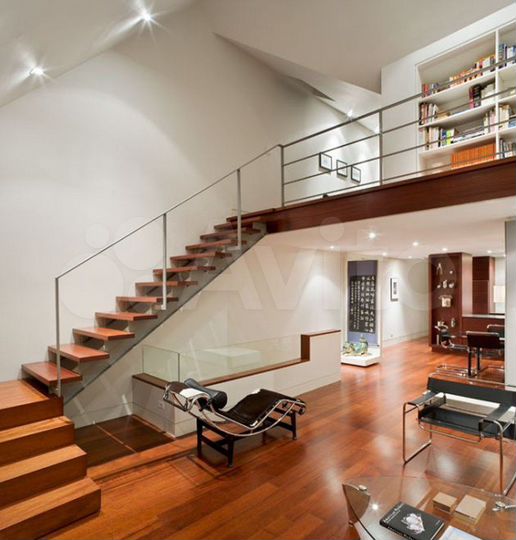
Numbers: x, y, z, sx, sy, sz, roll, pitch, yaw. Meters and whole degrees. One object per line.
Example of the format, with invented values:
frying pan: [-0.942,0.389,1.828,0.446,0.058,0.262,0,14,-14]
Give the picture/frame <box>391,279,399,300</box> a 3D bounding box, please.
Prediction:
picture/frame: [2.939,0.412,9.691,0.044,0.529,0.493,1,2,36]

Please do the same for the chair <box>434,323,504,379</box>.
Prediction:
chair: [3.363,1.252,6.945,0.899,0.684,1.113,1,3,43]

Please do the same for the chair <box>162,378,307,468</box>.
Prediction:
chair: [-0.145,1.359,4.217,1.451,0.604,0.522,3,-5,-41]
